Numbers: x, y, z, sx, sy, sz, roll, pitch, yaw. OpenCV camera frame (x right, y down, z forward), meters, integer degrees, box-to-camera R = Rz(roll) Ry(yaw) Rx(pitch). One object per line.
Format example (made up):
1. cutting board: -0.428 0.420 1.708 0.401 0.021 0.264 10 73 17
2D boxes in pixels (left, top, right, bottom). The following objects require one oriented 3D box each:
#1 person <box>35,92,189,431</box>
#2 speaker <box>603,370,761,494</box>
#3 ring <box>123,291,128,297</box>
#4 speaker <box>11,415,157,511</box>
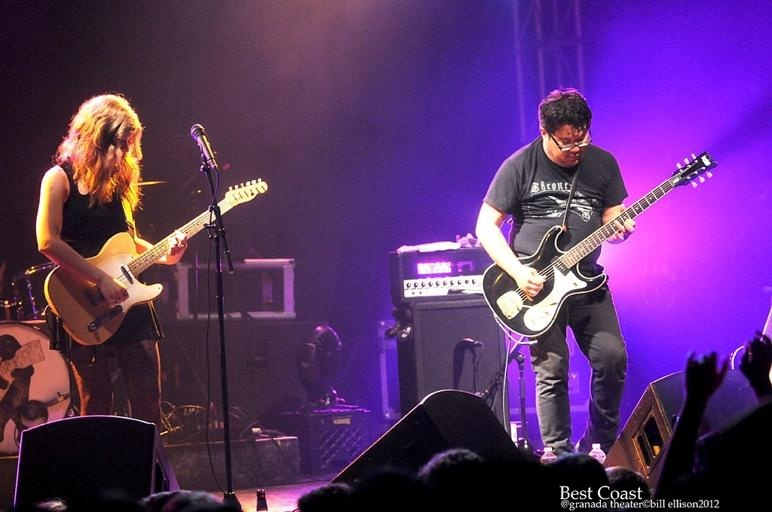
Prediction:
1. person: -1.944 -0.012 4.465 0.691 2.375 0.780 -7 -15 17
2. speaker: 1.383 0.823 2.982 0.384 0.396 0.712 13 -45 -40
3. ring: -1.793 0.261 4.368 0.028 0.043 0.010 -2 11 -22
4. speaker: -1.493 1.041 3.188 0.480 0.462 0.264 3 -5 -3
